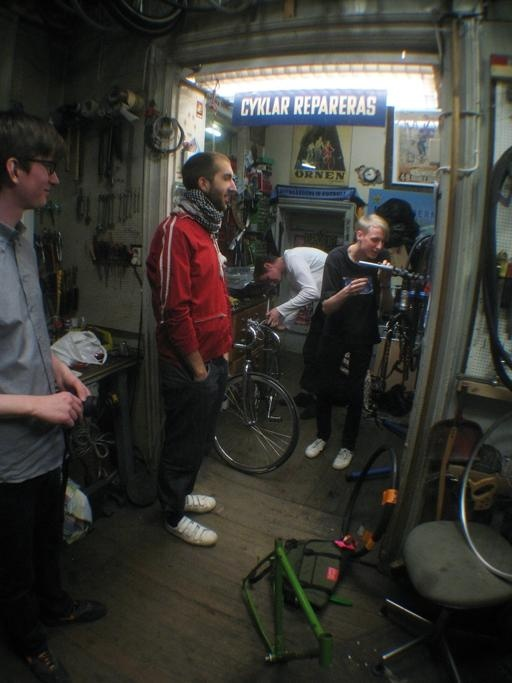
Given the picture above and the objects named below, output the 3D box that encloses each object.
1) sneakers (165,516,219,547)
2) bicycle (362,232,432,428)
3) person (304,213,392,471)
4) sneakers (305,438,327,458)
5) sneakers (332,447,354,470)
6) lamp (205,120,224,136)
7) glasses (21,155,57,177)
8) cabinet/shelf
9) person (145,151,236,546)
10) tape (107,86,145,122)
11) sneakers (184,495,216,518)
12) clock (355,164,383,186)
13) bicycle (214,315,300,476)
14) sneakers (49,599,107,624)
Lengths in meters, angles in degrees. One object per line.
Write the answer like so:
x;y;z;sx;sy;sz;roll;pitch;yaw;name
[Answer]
-0.317;0.979;2.844;0.295;0.105;0.109;14;32;16;sneakers
0.994;-0.040;3.564;0.341;1.246;0.921;14;3;17;bicycle
0.590;0.025;3.610;0.444;1.675;0.733;7;15;13;person
0.415;0.757;3.860;0.076;0.080;0.203;15;5;22;sneakers
0.576;0.795;3.710;0.076;0.077;0.198;14;9;17;sneakers
-0.382;-1.966;5.107;0.089;0.133;0.362;7;15;13;lamp
-0.683;-0.554;1.738;0.044;0.051;0.146;6;15;12;glasses
-0.013;0.037;4.204;0.444;0.721;0.789;2;6;19;cabinet/shelf
-0.320;0.073;2.691;0.426;1.918;0.414;1;15;-11;person
-0.718;-1.312;3.095;0.221;0.162;0.079;32;-1;15;tape
-0.319;0.911;3.069;0.230;0.090;0.084;-1;48;-21;sneakers
1.133;-1.679;5.577;0.298;0.201;0.021;13;17;34;clock
-0.014;0.512;4.027;0.584;0.655;1.115;-1;-1;-1;bicycle
-0.731;1.107;2.267;0.222;0.086;0.094;2;28;-25;sneakers
